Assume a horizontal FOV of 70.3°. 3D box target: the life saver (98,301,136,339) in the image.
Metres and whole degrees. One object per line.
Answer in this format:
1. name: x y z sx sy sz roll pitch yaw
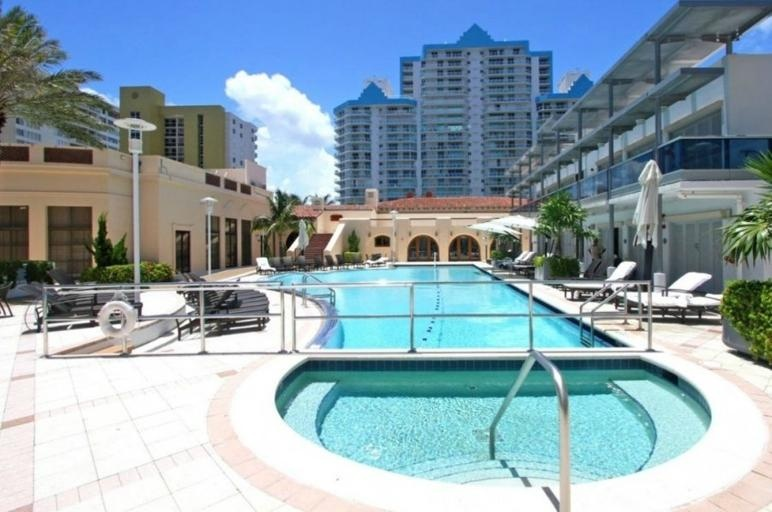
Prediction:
1. life saver: -5.808 1.440 11.931 0.718 0.781 2.101 -2 -1 -24
